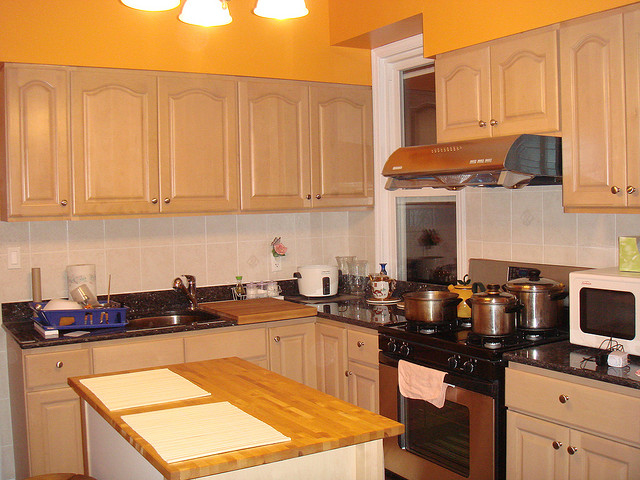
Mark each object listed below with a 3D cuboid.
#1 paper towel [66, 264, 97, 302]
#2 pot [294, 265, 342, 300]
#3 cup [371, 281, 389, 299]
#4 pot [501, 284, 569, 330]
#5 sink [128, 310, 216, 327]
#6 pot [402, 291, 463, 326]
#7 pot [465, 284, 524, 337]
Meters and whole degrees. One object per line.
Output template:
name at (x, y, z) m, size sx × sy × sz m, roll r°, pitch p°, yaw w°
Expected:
paper towel at (-1.625, 0.281, 3.703) m, size 0.187 × 0.228 × 0.225 m, roll -4°, pitch 6°, yaw -23°
pot at (-0.016, 0.314, 4.236) m, size 0.334 × 0.182 × 0.292 m, roll -1°, pitch 1°, yaw -24°
cup at (0.437, 0.366, 3.929) m, size 0.147 × 0.096 × 0.122 m, roll -1°, pitch -1°, yaw 17°
pot at (1.218, 0.350, 3.017) m, size 0.319 × 0.247 × 0.402 m, roll 1°, pitch -4°, yaw -18°
sink at (-1.061, 0.563, 3.881) m, size 0.579 × 0.086 × 0.215 m, roll -2°, pitch 5°, yaw -12°
pot at (0.663, 0.408, 3.232) m, size 0.339 × 0.150 × 0.476 m, roll 0°, pitch -2°, yaw -26°
pot at (0.937, 0.373, 2.917) m, size 0.303 × 0.262 × 0.397 m, roll 0°, pitch -1°, yaw -19°
